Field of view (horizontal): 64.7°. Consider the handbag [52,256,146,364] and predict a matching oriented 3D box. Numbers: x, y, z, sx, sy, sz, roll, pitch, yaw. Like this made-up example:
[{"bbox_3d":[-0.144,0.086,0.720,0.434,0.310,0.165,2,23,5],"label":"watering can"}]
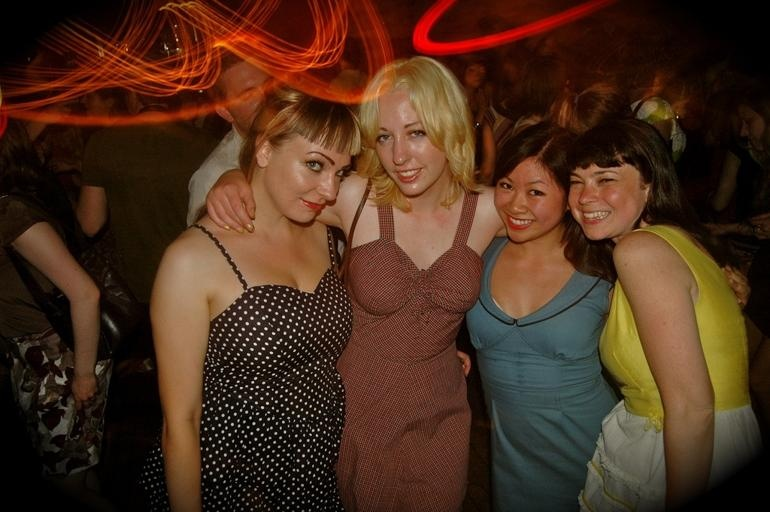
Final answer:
[{"bbox_3d":[-2.294,0.411,4.825,0.402,0.808,0.561,-24,31,4],"label":"handbag"}]
